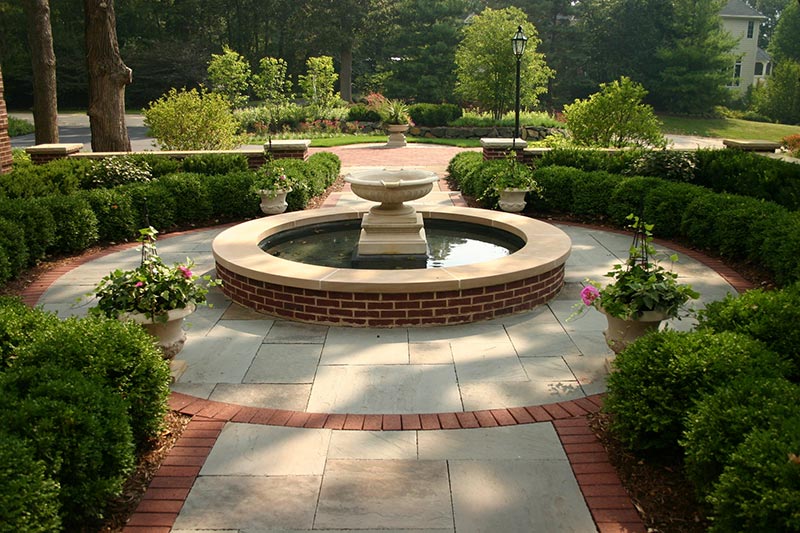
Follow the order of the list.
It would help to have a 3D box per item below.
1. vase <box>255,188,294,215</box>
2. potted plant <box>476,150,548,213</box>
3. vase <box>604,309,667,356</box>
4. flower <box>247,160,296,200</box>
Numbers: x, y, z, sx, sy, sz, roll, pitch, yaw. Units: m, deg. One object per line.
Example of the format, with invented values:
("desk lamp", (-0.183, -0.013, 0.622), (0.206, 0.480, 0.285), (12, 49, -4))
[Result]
("vase", (-2.734, -1.387, 11.731), (0.783, 0.410, 0.636), (-1, 8, -6))
("potted plant", (2.372, -1.955, 12.468), (1.664, 1.346, 1.544), (-4, 18, -9))
("vase", (2.436, 0.639, 5.909), (0.668, 0.374, 0.587), (1, 15, 8))
("flower", (-2.737, -1.847, 11.914), (1.011, 0.636, 0.873), (-1, 15, -4))
